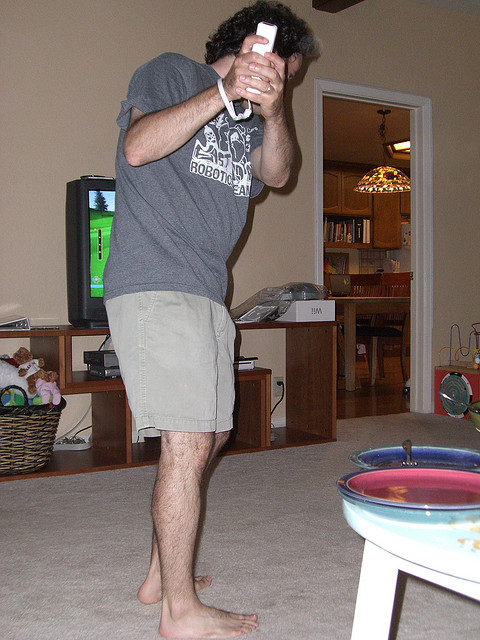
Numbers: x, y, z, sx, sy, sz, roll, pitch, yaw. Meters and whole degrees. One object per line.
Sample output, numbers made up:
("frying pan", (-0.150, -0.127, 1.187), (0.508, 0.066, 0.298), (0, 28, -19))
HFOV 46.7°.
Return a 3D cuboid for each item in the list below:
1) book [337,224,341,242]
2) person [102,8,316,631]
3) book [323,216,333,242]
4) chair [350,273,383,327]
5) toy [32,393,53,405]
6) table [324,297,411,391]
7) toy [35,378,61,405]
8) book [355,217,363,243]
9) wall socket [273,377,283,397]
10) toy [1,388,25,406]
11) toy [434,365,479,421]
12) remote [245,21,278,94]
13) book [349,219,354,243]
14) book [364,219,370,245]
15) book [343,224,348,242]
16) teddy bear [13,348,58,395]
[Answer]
("book", (1.272, -1.104, 7.141), (0.030, 0.227, 0.084), (0, 0, 26))
("person", (-0.034, 0.000, 1.332), (0.422, 1.289, 0.932), (0, 0, 7))
("book", (1.137, -1.142, 7.121), (0.099, 0.323, 0.274), (0, 0, 16))
("chair", (1.387, -0.223, 6.125), (0.389, 0.659, 0.468), (1, -12, 6))
("toy", (-0.789, 0.301, 2.212), (0.058, 0.044, 0.044), (-30, 8, -7))
("table", (1.284, 0.182, 4.991), (0.600, 0.682, 0.780), (-2, -9, 10))
("toy", (-0.755, 0.280, 2.179), (0.070, 0.111, 0.044), (-6, -44, -31))
("book", (1.547, -1.144, 7.234), (0.113, 0.291, 0.038), (0, 0, -34))
("wall socket", (0.215, 0.392, 3.228), (0.064, 0.116, 0.019), (0, 0, -27))
("toy", (-0.902, 0.306, 2.190), (0.030, 0.060, 0.067), (7, -4, -8))
("toy", (1.341, 0.462, 3.427), (0.231, 0.325, 0.529), (0, 0, 14))
("remote", (0.033, -0.419, 0.901), (0.058, 0.152, 0.015), (-7, -15, 4))
("book", (1.450, -1.152, 7.231), (0.057, 0.301, 0.117), (0, 0, 11))
("book", (1.662, -1.164, 7.291), (0.091, 0.299, 0.027), (0, 0, -29))
("book", (1.357, -1.109, 7.180), (0.042, 0.169, 0.176), (4, 4, 4))
("teddy bear", (-0.846, 0.206, 2.262), (0.139, 0.197, 0.056), (-27, -32, -15))
